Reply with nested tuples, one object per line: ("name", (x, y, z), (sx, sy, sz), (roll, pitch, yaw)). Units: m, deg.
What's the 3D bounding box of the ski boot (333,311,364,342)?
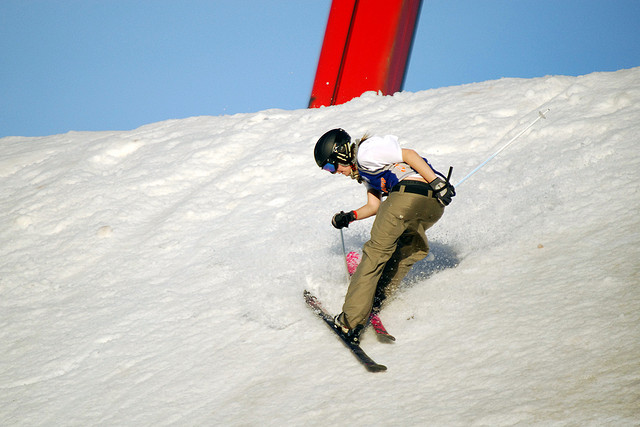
("ski boot", (0.345, 1.401, 8.958), (0.380, 0.267, 0.168), (23, 52, 20))
